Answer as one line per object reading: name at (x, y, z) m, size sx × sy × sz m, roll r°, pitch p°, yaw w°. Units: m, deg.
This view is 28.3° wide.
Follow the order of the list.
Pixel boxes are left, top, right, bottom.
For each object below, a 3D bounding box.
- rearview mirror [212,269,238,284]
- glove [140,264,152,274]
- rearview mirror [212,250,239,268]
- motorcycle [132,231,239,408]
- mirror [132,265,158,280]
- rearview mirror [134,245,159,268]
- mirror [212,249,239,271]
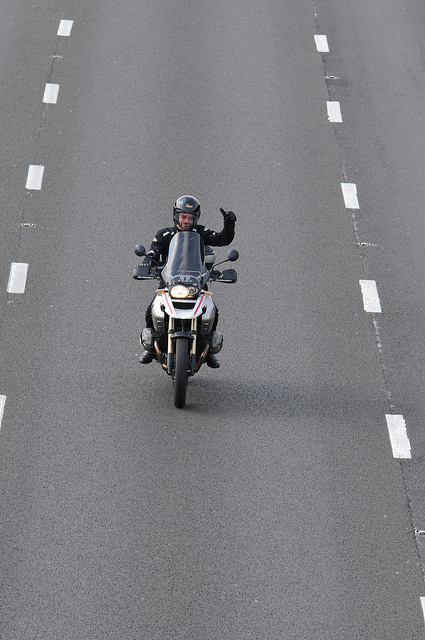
rearview mirror at (0.131, -0.498, 9.278) m, size 0.221 × 0.071 × 0.145 m, roll 2°, pitch 33°, yaw -2°
glove at (-0.732, -0.576, 9.227) m, size 0.120 × 0.153 × 0.092 m, roll -3°, pitch 97°, yaw -1°
rearview mirror at (0.167, -0.663, 9.077) m, size 0.325 × 0.095 × 0.089 m, roll -32°, pitch 98°, yaw -3°
motorcycle at (-0.340, -0.220, 9.746) m, size 1.181 × 1.635 × 2.633 m, roll 3°, pitch 18°, yaw -2°
mirror at (-0.742, -0.538, 9.183) m, size 0.218 × 0.166 × 0.083 m, roll 0°, pitch 91°, yaw -41°
rearview mirror at (-0.699, -0.688, 8.863) m, size 0.305 × 0.080 × 0.082 m, roll 37°, pitch 25°, yaw -2°
mirror at (0.124, -0.702, 9.129) m, size 0.333 × 0.158 × 0.127 m, roll -23°, pitch 63°, yaw 9°
